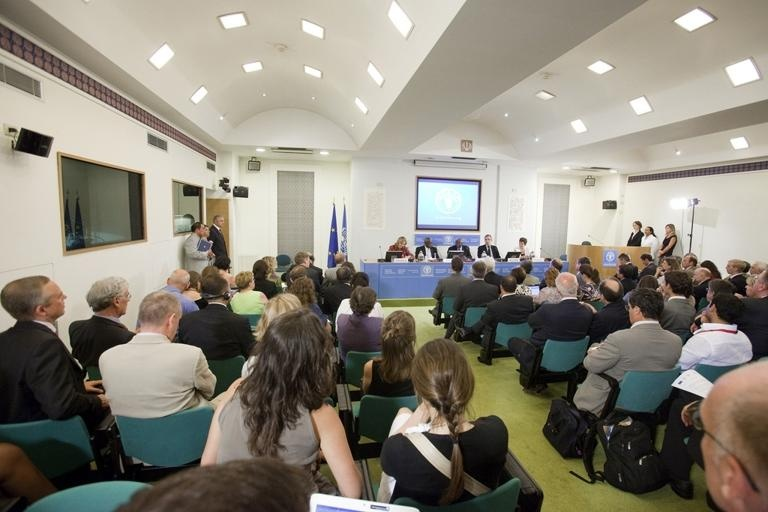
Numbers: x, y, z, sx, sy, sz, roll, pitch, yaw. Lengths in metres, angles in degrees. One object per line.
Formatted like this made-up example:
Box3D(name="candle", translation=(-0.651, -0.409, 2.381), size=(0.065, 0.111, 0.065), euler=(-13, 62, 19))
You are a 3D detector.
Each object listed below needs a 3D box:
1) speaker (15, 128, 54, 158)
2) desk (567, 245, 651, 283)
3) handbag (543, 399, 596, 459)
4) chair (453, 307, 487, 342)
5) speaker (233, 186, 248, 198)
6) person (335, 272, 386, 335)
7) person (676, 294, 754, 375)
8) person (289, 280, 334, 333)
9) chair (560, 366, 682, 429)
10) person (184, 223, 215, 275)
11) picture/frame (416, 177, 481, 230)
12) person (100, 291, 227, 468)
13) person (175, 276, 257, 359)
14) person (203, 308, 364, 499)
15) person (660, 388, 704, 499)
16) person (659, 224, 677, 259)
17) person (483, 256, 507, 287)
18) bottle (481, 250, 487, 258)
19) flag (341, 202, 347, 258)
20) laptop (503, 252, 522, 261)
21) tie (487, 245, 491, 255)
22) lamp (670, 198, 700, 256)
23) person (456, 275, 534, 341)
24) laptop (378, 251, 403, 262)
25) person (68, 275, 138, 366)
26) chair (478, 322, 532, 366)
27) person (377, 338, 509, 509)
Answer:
Box3D(name="speaker", translation=(-3.773, -1.184, 4.963), size=(0.208, 0.307, 0.401), euler=(11, 3, 28))
Box3D(name="desk", translation=(5.417, 0.453, 11.356), size=(1.564, 1.157, 0.844), euler=(0, 0, -4))
Box3D(name="handbag", translation=(1.970, 1.674, 4.838), size=(0.553, 0.581, 0.535), euler=(-11, 15, 26))
Box3D(name="chair", translation=(1.188, 0.962, 6.463), size=(0.432, 0.658, 0.452), euler=(2, 0, -6))
Box3D(name="speaker", translation=(-3.268, -1.469, 10.457), size=(0.292, 0.229, 0.286), euler=(-1, 2, -36))
Box3D(name="person", translation=(-0.312, 0.551, 5.466), size=(0.461, 1.014, 0.536), euler=(8, 44, 3))
Box3D(name="person", translation=(3.345, 0.806, 4.681), size=(0.498, 0.908, 0.485), euler=(9, 21, 2))
Box3D(name="person", translation=(-0.823, 0.653, 5.233), size=(0.466, 0.763, 0.296), euler=(-3, -14, 0))
Box3D(name="chair", translation=(2.386, 1.316, 4.705), size=(0.584, 0.846, 0.672), euler=(2, 10, -4))
Box3D(name="person", translation=(-3.351, -0.183, 8.313), size=(0.517, 0.872, 0.568), euler=(1, 4, -12))
Box3D(name="picture/frame", translation=(1.555, -1.416, 11.710), size=(1.223, 0.961, 0.054), euler=(0, 2, -14))
Box3D(name="person", translation=(-1.966, 0.990, 4.145), size=(0.851, 1.367, 0.735), euler=(4, 17, -2))
Box3D(name="person", translation=(-1.702, 0.656, 4.774), size=(0.707, 1.063, 0.604), euler=(5, 17, 4))
Box3D(name="person", translation=(-0.804, 1.118, 3.489), size=(0.955, 1.703, 0.995), euler=(12, 28, 1))
Box3D(name="person", translation=(2.837, 1.746, 4.418), size=(0.313, 0.942, 0.629), euler=(4, 4, 34))
Box3D(name="person", translation=(6.577, -0.406, 10.741), size=(0.306, 0.735, 1.573), euler=(3, 5, 31))
Box3D(name="person", translation=(1.853, 0.258, 7.766), size=(0.306, 0.318, 0.890), euler=(-3, -32, 21))
Box3D(name="bottle", translation=(2.181, -0.062, 10.139), size=(0.132, 0.259, 0.140), euler=(2, -8, 0))
Box3D(name="flag", translation=(-1.011, -0.690, 11.745), size=(0.157, 1.343, 0.626), euler=(1, 4, -5))
Box3D(name="laptop", translation=(2.873, 0.034, 10.321), size=(0.301, 0.219, 0.234), euler=(-2, 43, 7))
Box3D(name="tie", translation=(2.386, -0.167, 10.602), size=(0.104, 0.212, 0.047), euler=(-2, -14, 7))
Box3D(name="lamp", translation=(7.408, -0.801, 11.326), size=(0.476, 1.375, 1.130), euler=(2, 4, 16))
Box3D(name="person", translation=(1.470, 0.715, 6.200), size=(0.569, 1.355, 0.794), euler=(-1, 30, -6))
Box3D(name="laptop", translation=(0.149, 0.035, 9.755), size=(0.302, 0.234, 0.262), euler=(1, 18, -13))
Box3D(name="person", translation=(-2.739, 0.613, 4.550), size=(0.777, 0.844, 0.449), euler=(6, 6, 20))
Box3D(name="chair", translation=(1.521, 1.070, 6.185), size=(0.648, 0.767, 0.560), euler=(0, 5, -10))
Box3D(name="person", translation=(0.435, 1.210, 3.332), size=(0.859, 1.162, 0.387), euler=(3, 4, 17))
